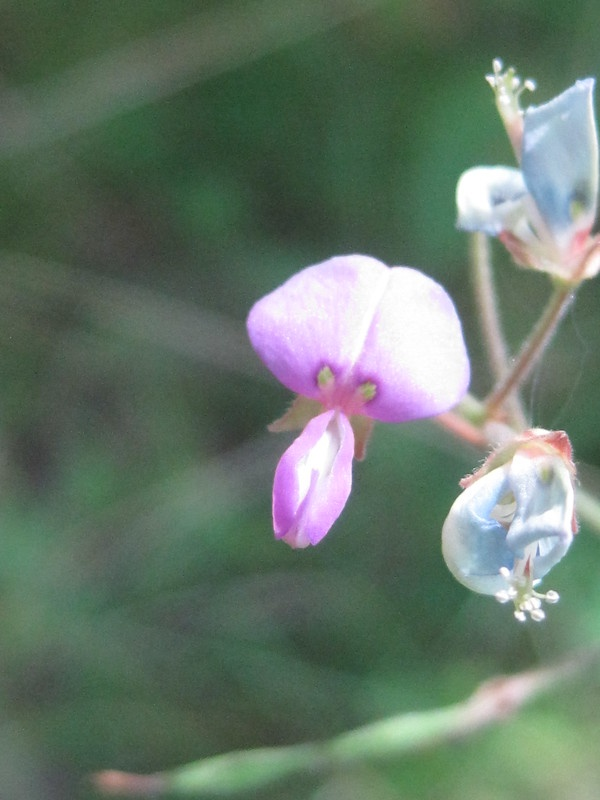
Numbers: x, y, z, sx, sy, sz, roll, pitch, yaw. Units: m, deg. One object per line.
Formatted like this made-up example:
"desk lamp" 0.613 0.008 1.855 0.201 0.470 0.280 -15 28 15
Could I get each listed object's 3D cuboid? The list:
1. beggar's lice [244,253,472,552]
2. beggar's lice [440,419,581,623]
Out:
"beggar's lice" 0.035 0.007 0.489 0.133 0.146 0.045 14 -5 13
"beggar's lice" 0.112 0.052 0.444 0.071 0.116 0.056 7 -53 24
